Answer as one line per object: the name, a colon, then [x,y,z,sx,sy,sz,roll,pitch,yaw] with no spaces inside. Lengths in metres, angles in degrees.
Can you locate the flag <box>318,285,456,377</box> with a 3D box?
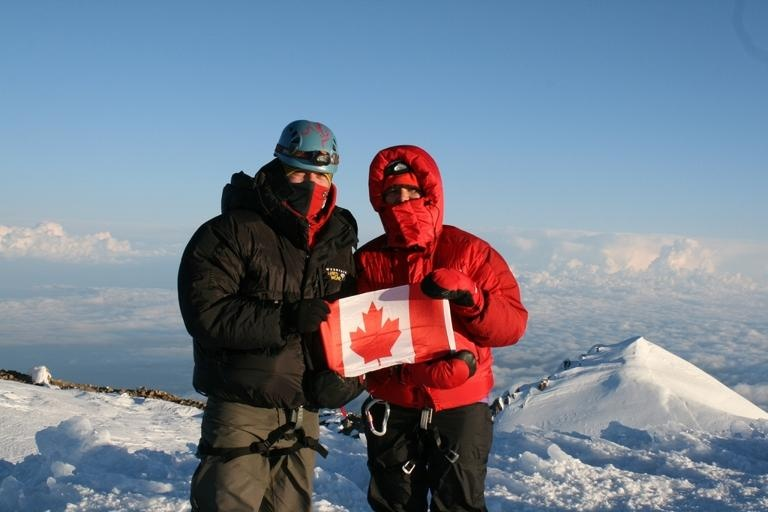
flag: [0.005,1.273,11.914,2.275,1.314,0.525,-8,-6,-24]

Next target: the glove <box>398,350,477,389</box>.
glove: [0.929,1.809,11.847,0.831,0.304,0.806,-14,-5,16]
